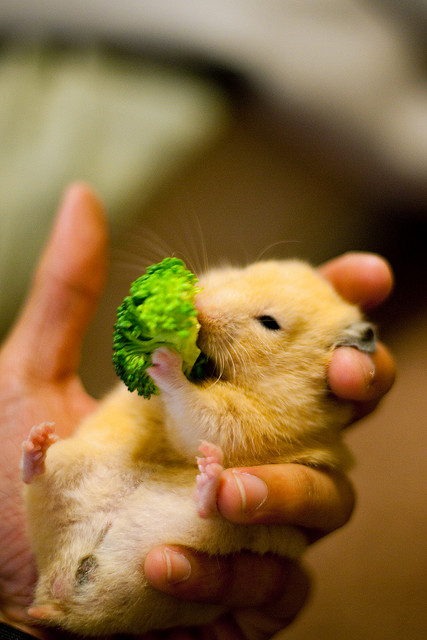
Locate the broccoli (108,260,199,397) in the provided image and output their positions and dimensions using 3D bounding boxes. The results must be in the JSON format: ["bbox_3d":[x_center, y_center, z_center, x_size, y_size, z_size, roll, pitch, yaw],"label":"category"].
[{"bbox_3d":[-0.103,0.042,1.244,0.151,0.255,0.187,27,59,19],"label":"broccoli"}]
